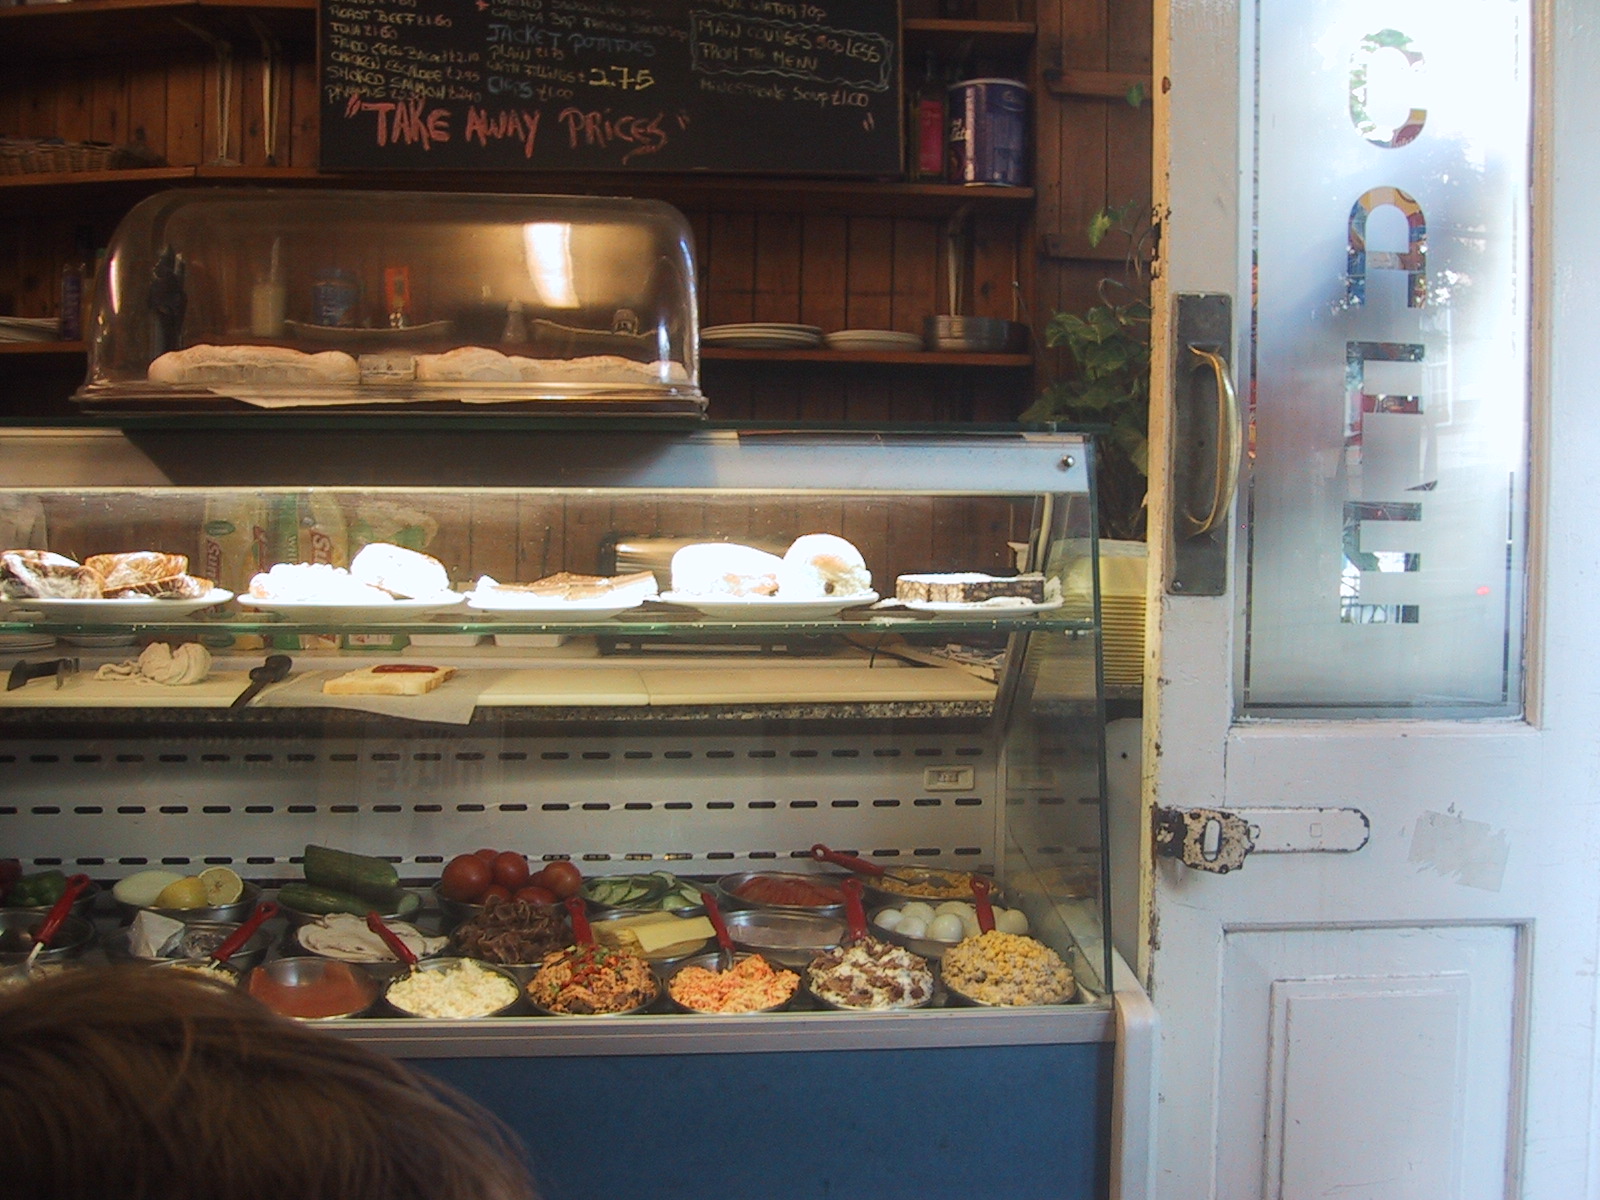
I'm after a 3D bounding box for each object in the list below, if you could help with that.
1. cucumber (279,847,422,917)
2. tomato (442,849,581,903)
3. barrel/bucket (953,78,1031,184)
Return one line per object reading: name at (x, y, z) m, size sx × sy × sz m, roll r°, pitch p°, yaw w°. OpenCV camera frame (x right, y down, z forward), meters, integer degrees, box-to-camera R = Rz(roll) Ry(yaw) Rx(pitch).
cucumber at (-0.752, 0.484, 2.752) m, size 0.195 × 0.056 × 0.106 m, roll 4°, pitch 44°, yaw 8°
tomato at (-0.486, 0.480, 2.803) m, size 0.227 × 0.090 × 0.092 m, roll 8°, pitch 40°, yaw -9°
barrel/bucket at (0.464, -1.142, 3.999) m, size 0.183 × 0.245 × 0.079 m, roll -1°, pitch 6°, yaw -8°
